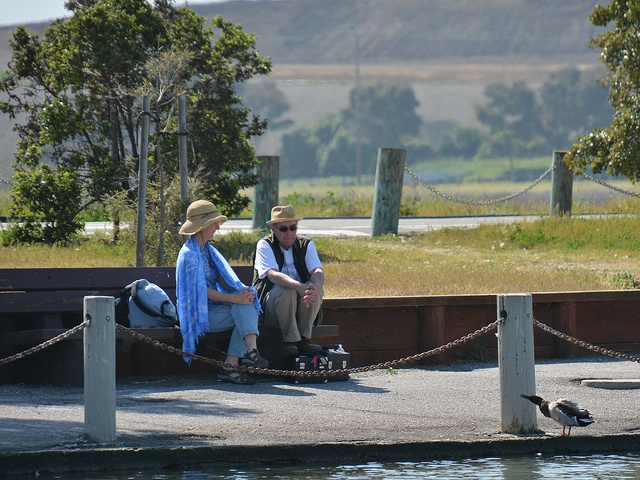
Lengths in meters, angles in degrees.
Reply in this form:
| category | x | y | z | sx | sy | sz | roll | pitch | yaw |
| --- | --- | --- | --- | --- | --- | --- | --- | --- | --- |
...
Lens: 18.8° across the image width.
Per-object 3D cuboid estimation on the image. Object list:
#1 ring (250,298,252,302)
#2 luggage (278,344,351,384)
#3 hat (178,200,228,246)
| category | x | y | z | sx | sy | sz | roll | pitch | yaw |
| --- | --- | --- | --- | --- | --- | --- | --- | --- | --- |
| ring | -1.998 | 1.611 | 54.929 | 0.079 | 0.109 | 0.035 | 3 | 3 | 4 |
| luggage | -0.132 | 3.466 | 55.139 | 1.847 | 1.068 | 0.307 | -1 | 4 | -5 |
| hat | -3.378 | -0.600 | 55.173 | 0.949 | 1.109 | 0.840 | -1 | 6 | -18 |
